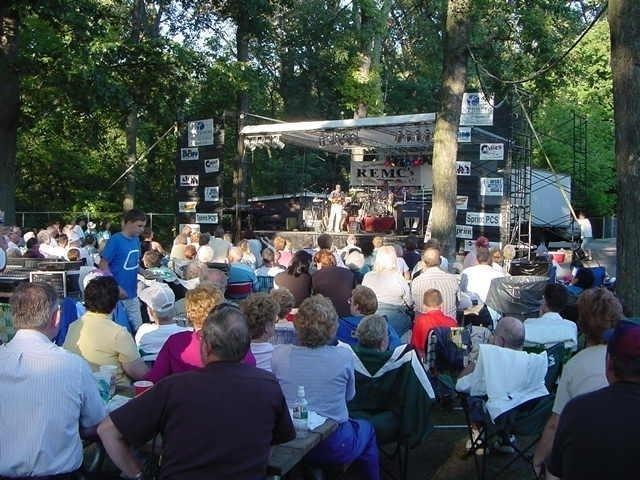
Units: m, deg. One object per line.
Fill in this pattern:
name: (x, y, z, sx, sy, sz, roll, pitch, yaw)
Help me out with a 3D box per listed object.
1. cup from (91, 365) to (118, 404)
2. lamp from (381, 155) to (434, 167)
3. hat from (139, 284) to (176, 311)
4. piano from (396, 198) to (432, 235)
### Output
cup: (-2.383, 1.590, 10.133, 0.312, 0.501, 0.316, -1, -7, 0)
lamp: (2.746, -2.543, 28.452, 0.293, 0.477, 1.813, 6, -7, -43)
hat: (-2.041, 0.718, 11.169, 0.264, 0.241, 0.402, -15, 38, -38)
piano: (2.505, -0.645, 23.492, 1.003, 1.159, 0.770, 4, 7, 41)
